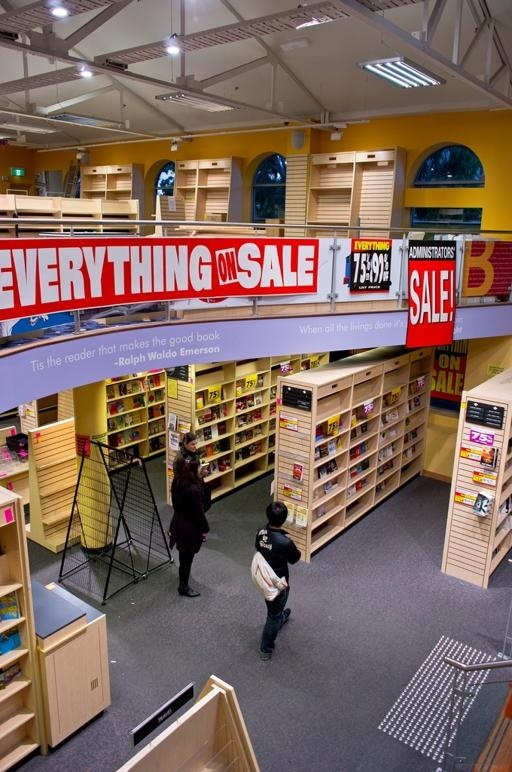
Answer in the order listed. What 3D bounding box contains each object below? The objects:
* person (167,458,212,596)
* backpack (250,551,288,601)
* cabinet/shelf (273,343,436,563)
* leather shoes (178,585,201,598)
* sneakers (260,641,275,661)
[{"bbox_3d":[-0.684,1.463,5.258,0.392,1.508,0.488,1,9,-8],"label":"person"},{"bbox_3d":[0.115,1.625,4.384,0.299,0.422,0.199,3,9,2],"label":"backpack"},{"bbox_3d":[1.276,0.913,6.762,0.423,1.698,2.242,10,22,31],"label":"cabinet/shelf"},{"bbox_3d":[-0.696,2.169,5.397,0.220,0.166,0.100,-1,7,-7],"label":"leather shoes"},{"bbox_3d":[0.097,2.335,4.533,0.065,0.163,0.165,8,31,11],"label":"sneakers"}]
